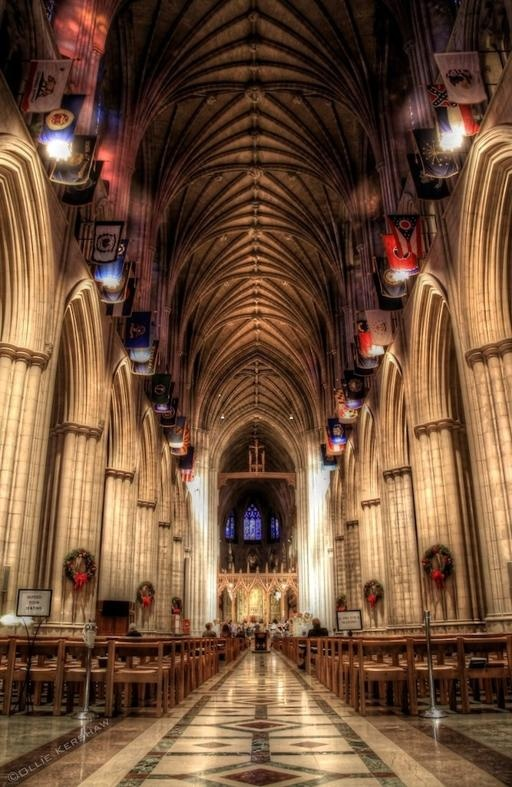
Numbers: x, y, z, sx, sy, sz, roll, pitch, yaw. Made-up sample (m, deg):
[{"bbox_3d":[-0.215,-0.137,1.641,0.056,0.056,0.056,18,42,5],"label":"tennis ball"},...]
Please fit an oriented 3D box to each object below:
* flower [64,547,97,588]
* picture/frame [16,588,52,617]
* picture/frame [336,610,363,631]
[{"bbox_3d":[-3.971,3.930,12.771,0.306,0.876,0.765,-15,-24,33],"label":"flower"},{"bbox_3d":[-2.757,2.579,7.024,0.470,0.476,0.175,3,-23,-14],"label":"picture/frame"},{"bbox_3d":[1.508,3.626,9.136,0.357,0.310,0.974,-6,-22,9],"label":"picture/frame"}]
